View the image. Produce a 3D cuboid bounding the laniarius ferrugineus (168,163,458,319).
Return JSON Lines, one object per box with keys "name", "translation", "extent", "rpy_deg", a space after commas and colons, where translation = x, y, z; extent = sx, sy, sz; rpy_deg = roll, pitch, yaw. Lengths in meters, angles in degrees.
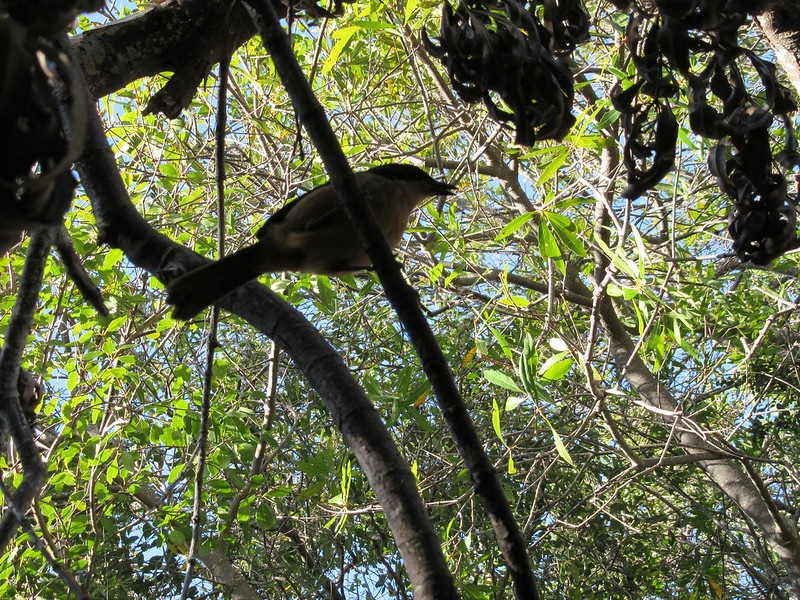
{"name": "laniarius ferrugineus", "translation": [-0.262, -0.171, 3.137], "extent": [0.933, 0.390, 0.296], "rpy_deg": [-12, -48, -12]}
